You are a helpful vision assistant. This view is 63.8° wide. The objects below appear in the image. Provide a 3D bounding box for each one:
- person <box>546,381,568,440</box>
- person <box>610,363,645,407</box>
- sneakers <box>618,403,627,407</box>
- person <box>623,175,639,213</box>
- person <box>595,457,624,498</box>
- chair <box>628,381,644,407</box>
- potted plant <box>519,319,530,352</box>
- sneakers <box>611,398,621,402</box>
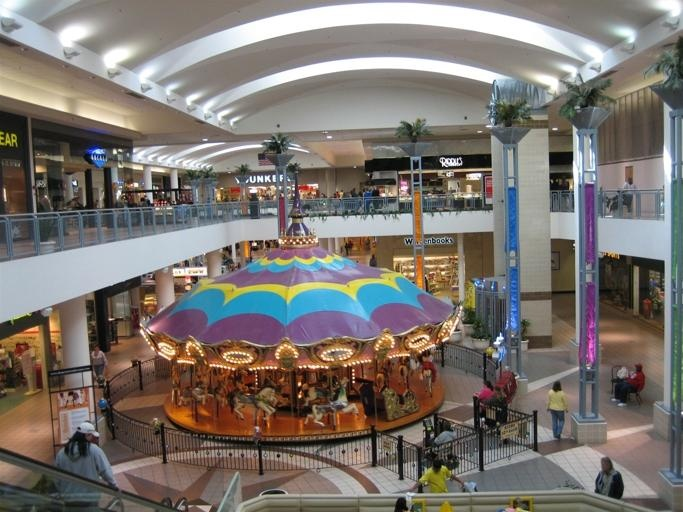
[{"bbox_3d":[5.736,4.029,14.670,0.454,1.591,0.769,0,4,21],"label":"person"},{"bbox_3d":[8.833,3.881,16.992,0.880,1.249,0.934,1,4,25],"label":"person"},{"bbox_3d":[8.533,4.530,16.758,0.216,0.097,0.084,-2,7,2],"label":"sneakers"},{"bbox_3d":[9.234,-2.003,17.729,0.345,1.172,2.664,1,5,27],"label":"person"},{"bbox_3d":[5.324,4.403,10.986,0.501,0.897,0.512,0,4,15],"label":"person"},{"bbox_3d":[9.185,4.257,17.083,0.508,0.785,0.594,3,-3,2],"label":"chair"},{"bbox_3d":[7.812,3.329,23.411,0.324,1.282,0.804,0,4,21],"label":"potted plant"},{"bbox_3d":[8.530,4.493,17.176,0.205,0.098,0.079,1,3,11],"label":"sneakers"}]
